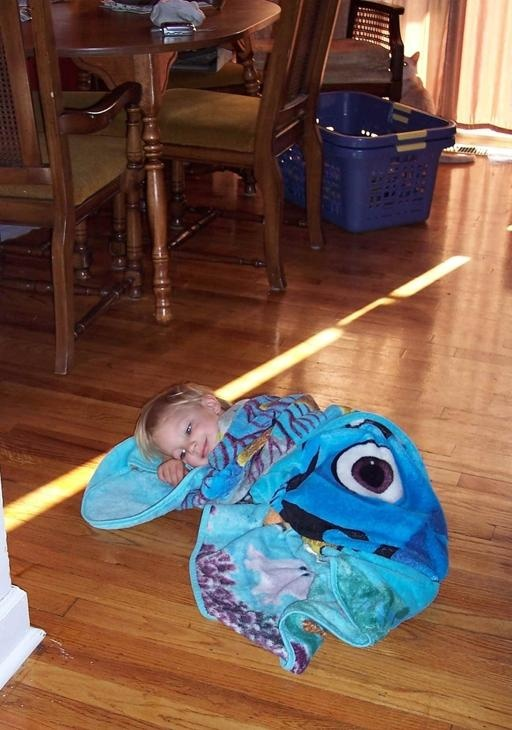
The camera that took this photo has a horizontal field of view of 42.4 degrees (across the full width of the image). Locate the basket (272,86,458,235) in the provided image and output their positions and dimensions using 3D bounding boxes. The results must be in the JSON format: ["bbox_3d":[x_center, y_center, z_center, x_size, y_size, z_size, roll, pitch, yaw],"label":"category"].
[{"bbox_3d":[0.374,-0.869,2.837,0.621,0.373,0.774,-17,35,-25],"label":"basket"}]

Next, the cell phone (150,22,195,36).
[{"bbox_3d":[-0.199,-0.847,1.668,0.087,0.023,0.050,-4,49,-9],"label":"cell phone"}]
